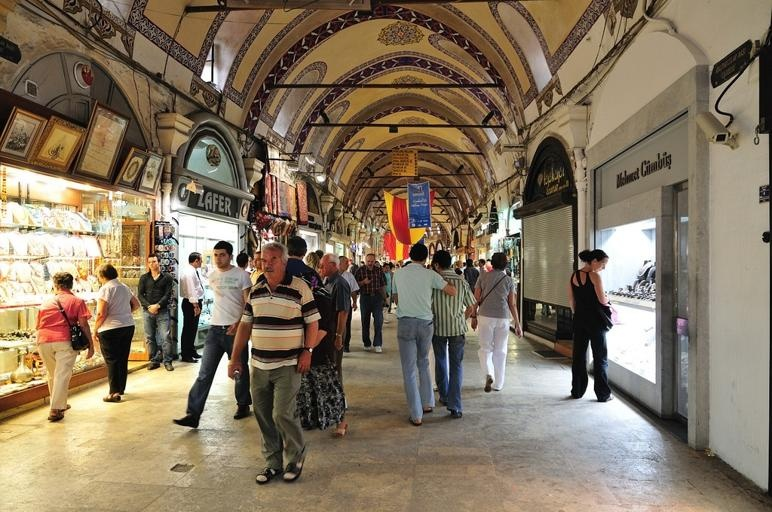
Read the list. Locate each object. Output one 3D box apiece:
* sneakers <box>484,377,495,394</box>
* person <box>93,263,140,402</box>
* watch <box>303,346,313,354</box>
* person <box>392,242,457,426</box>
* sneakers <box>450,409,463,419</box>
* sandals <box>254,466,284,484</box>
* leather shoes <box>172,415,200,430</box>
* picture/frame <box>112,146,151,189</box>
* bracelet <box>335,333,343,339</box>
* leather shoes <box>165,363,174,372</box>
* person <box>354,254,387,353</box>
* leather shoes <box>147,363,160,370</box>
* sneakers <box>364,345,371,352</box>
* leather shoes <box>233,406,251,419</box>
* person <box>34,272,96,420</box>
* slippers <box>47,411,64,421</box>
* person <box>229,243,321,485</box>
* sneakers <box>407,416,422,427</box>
[{"bbox_3d":[1.507,1.881,6.986,0.104,0.222,0.152,4,-2,-4],"label":"sneakers"},{"bbox_3d":[-3.659,1.040,6.558,0.520,1.839,0.339,-2,3,-33],"label":"person"},{"bbox_3d":[-0.729,0.897,4.581,0.065,0.047,0.069,-2,-10,14],"label":"watch"},{"bbox_3d":[0.434,0.926,5.920,0.623,2.160,0.493,0,3,-10],"label":"person"},{"bbox_3d":[0.888,1.956,5.929,0.071,0.095,0.197,14,-11,-28],"label":"sneakers"},{"bbox_3d":[-1.097,2.073,4.552,0.099,0.108,0.248,0,-10,40],"label":"sandals"},{"bbox_3d":[-2.296,1.938,5.563,0.232,0.167,0.093,23,-6,-5],"label":"leather shoes"},{"bbox_3d":[-4.141,-1.448,7.802,0.090,0.859,0.803,19,3,7],"label":"picture/frame"},{"bbox_3d":[-0.541,0.953,5.730,0.076,0.062,0.063,-2,-17,-10],"label":"bracelet"},{"bbox_3d":[-3.642,1.879,8.120,0.074,0.087,0.216,2,-12,-18],"label":"leather shoes"},{"bbox_3d":[-0.306,0.990,10.218,0.768,2.076,0.680,0,1,-2],"label":"person"},{"bbox_3d":[-3.950,1.890,8.213,0.164,0.160,0.077,21,-9,-30],"label":"leather shoes"},{"bbox_3d":[-0.371,1.905,9.869,0.086,0.058,0.154,2,4,3],"label":"sneakers"},{"bbox_3d":[-1.769,1.940,5.941,0.093,0.111,0.258,-1,-8,10],"label":"leather shoes"},{"bbox_3d":[-3.943,1.227,5.945,0.546,1.524,0.261,-2,3,-37],"label":"person"},{"bbox_3d":[-4.002,1.952,5.849,0.090,0.081,0.177,1,5,2],"label":"slippers"},{"bbox_3d":[-0.967,1.000,4.568,0.659,2.235,0.266,0,3,-8],"label":"person"},{"bbox_3d":[0.349,1.977,5.752,0.168,0.069,0.164,1,4,13],"label":"sneakers"}]
